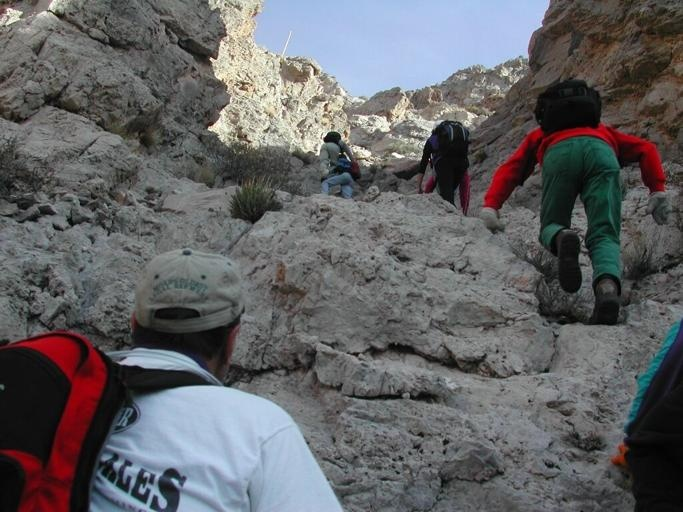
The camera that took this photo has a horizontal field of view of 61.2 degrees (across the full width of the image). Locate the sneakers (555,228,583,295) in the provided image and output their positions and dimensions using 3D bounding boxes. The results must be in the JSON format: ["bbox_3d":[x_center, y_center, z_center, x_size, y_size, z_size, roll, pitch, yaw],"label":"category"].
[{"bbox_3d":[1.674,0.046,4.381,0.176,0.484,0.208,-5,-12,9],"label":"sneakers"}]

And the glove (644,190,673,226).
[{"bbox_3d":[2.668,-0.396,4.789,0.117,0.269,0.199,-5,-16,-37],"label":"glove"}]

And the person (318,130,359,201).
[{"bbox_3d":[-0.035,-1.476,9.241,0.722,1.098,0.425,11,-13,8],"label":"person"}]

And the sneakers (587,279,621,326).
[{"bbox_3d":[1.935,0.323,4.205,0.187,0.352,0.241,8,-14,22],"label":"sneakers"}]

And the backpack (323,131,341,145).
[{"bbox_3d":[-0.147,-1.934,9.388,0.198,0.112,0.246,0,-10,-8],"label":"backpack"}]

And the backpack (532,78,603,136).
[{"bbox_3d":[1.900,-1.217,4.799,0.430,0.378,0.508,-6,8,13],"label":"backpack"}]

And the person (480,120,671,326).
[{"bbox_3d":[1.863,-0.298,4.701,1.339,1.710,0.694,5,-15,31],"label":"person"}]

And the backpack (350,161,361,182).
[{"bbox_3d":[0.197,-1.339,9.145,0.127,0.296,0.218,0,-2,14],"label":"backpack"}]
